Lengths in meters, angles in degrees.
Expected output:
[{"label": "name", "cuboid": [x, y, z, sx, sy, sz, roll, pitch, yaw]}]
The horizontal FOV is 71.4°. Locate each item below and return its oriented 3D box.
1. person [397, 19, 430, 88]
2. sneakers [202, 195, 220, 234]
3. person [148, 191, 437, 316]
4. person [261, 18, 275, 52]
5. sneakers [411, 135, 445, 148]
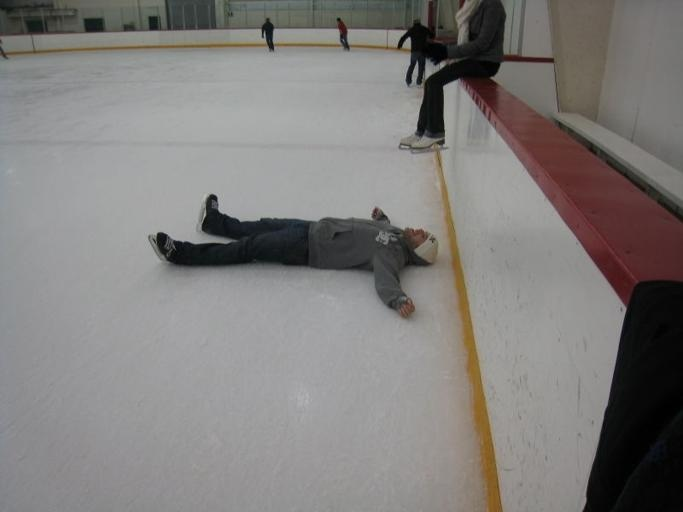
[{"label": "person", "cuboid": [1.441, -4.061, 9.306, 0.558, 1.305, 0.431, -7, 44, 0]}, {"label": "sneakers", "cuboid": [-1.119, -0.379, 4.108, 0.142, 0.384, 0.121, -5, -20, 20]}, {"label": "person", "cuboid": [-0.289, -0.075, 3.579, 1.313, 0.321, 1.216, 1, 25, 3]}, {"label": "person", "cuboid": [-2.463, -7.546, 16.200, 0.330, 1.067, 1.355, -4, 21, -8]}, {"label": "sneakers", "cuboid": [0.891, -1.186, 4.925, 0.357, 0.166, 0.140, 1, 33, 19]}]
